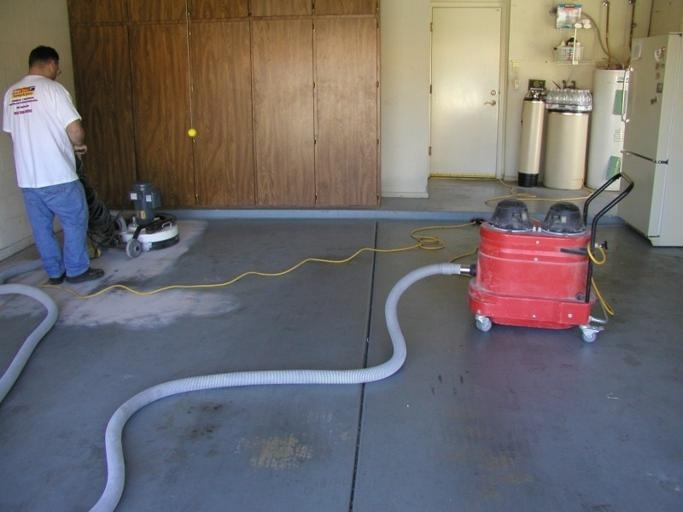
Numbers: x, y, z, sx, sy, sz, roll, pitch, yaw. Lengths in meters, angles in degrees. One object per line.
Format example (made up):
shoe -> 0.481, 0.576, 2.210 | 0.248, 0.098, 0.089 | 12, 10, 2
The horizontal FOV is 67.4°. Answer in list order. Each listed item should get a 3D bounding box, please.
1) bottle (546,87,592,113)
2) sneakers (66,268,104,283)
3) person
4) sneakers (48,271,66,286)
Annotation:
bottle -> 3.436, -2.406, 7.773 | 0.656, 0.354, 0.356 | 9, 21, 26
sneakers -> -2.376, 0.182, 4.794 | 0.333, 0.160, 0.125 | -9, 21, -26
person -> -2.580, -0.789, 4.579 | 0.621, 2.064, 0.408 | -6, 19, -14
sneakers -> -2.648, 0.180, 4.805 | 0.070, 0.094, 0.206 | 4, 27, 2
